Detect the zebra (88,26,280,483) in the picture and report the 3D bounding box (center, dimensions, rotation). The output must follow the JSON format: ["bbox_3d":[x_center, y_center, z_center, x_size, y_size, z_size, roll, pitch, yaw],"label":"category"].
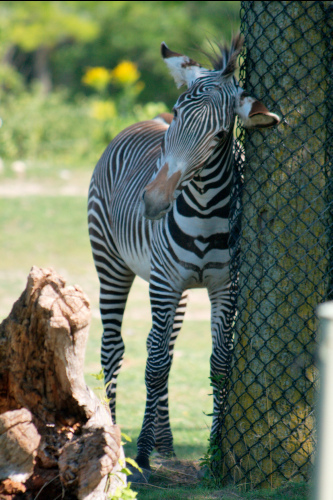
[{"bbox_3d":[0.047,0.020,6.803,0.687,2.494,1.747,5,4,-12],"label":"zebra"}]
